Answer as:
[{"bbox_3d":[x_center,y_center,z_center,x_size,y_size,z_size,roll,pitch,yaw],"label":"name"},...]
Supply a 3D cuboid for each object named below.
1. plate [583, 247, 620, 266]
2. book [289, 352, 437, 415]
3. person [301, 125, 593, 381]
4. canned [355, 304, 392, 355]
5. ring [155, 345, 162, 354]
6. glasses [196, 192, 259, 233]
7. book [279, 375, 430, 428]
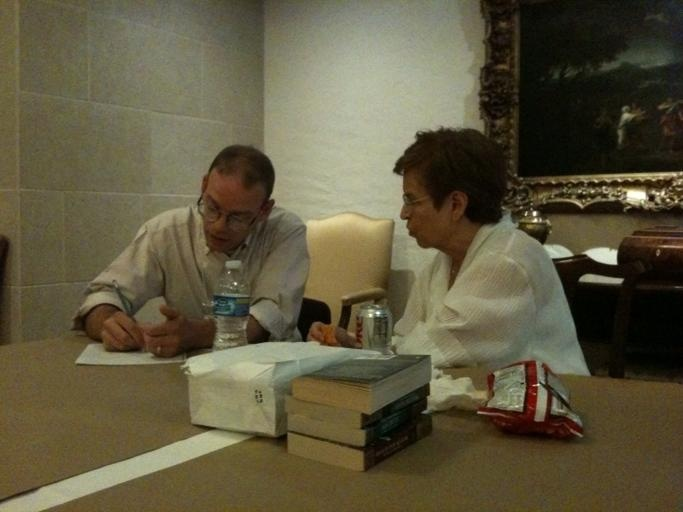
[{"bbox_3d":[1.310,0.000,3.010,0.108,0.076,0.106,1,-3,-19],"label":"plate"},{"bbox_3d":[0.054,0.236,1.181,0.188,0.059,0.273,0,4,30],"label":"book"},{"bbox_3d":[0.398,0.005,2.118,1.004,0.856,0.683,-4,9,-12],"label":"person"},{"bbox_3d":[0.099,0.208,1.750,0.093,0.149,0.091,-16,23,-37],"label":"canned"},{"bbox_3d":[-0.516,0.263,1.703,0.016,0.016,0.018,-4,-5,32],"label":"ring"},{"bbox_3d":[-0.391,-0.151,2.081,0.202,0.125,0.140,-2,11,-12],"label":"glasses"},{"bbox_3d":[-0.015,0.277,1.099,0.181,0.036,0.190,23,-34,-16],"label":"book"}]
